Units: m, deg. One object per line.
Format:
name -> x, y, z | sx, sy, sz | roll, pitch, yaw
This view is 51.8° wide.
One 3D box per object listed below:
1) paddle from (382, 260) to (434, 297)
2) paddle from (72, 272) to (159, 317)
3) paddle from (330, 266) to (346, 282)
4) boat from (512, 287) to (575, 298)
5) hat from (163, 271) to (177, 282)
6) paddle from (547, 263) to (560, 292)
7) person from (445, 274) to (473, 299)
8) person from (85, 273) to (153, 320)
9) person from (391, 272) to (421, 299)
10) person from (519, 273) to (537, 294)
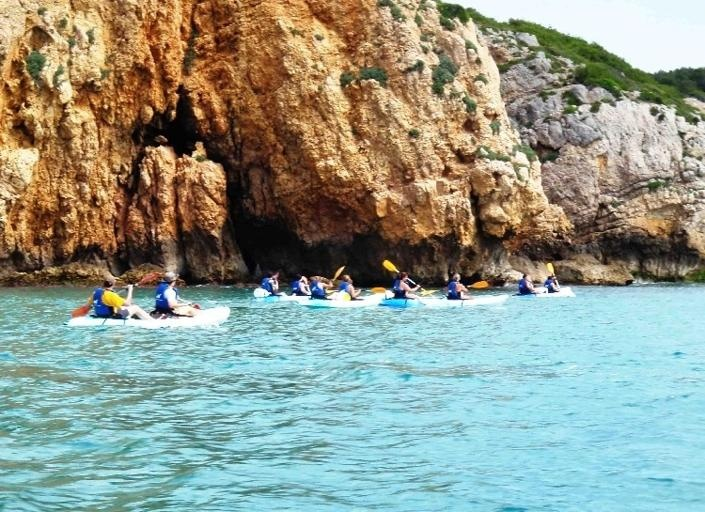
paddle -> 2.449, 0.889, 30.837 | 2.568, 0.338, 0.251 | 31, -6, -17
paddle -> -6.126, 1.190, 19.164 | 2.542, 0.902, 1.042 | -6, -3, -34
paddle -> -0.611, 0.747, 31.841 | 0.239, 0.246, 1.342 | 16, 34, 17
boat -> 7.934, 1.546, 29.429 | 3.270, 0.417, 0.763 | 0, 15, -13
hat -> -4.746, 0.534, 18.977 | 0.312, 0.349, 0.886 | -3, 10, -17
paddle -> 9.333, 1.007, 33.990 | 0.569, 0.312, 2.538 | -2, 19, 13
person -> 3.717, 0.995, 25.723 | 0.718, 1.005, 1.689 | 2, 10, 6
person -> -6.130, 1.236, 19.605 | 1.436, 0.920, 2.083 | -3, -8, 25
person -> 2.109, 1.130, 28.324 | 1.042, 1.191, 0.706 | -16, 24, -31
person -> 7.552, 1.213, 31.628 | 0.484, 0.621, 0.732 | -29, 33, -35
